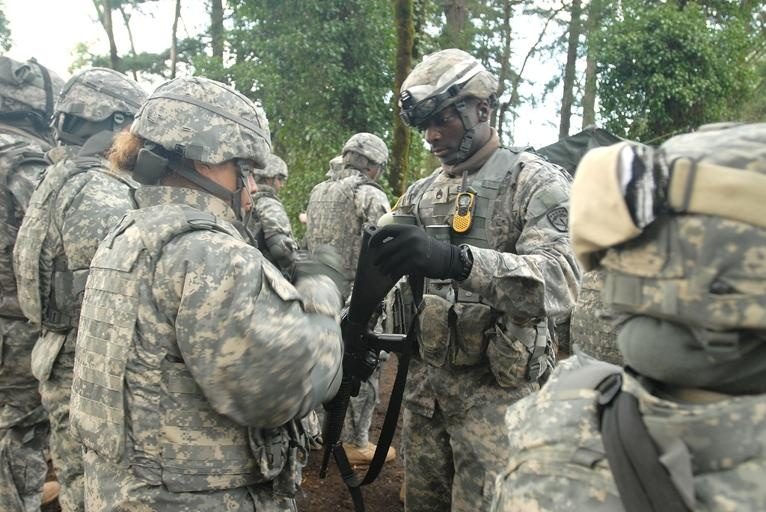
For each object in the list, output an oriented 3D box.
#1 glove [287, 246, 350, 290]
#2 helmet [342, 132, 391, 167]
[{"bbox_3d":[-0.343,0.092,4.688,0.340,0.238,0.407,-2,21,-15],"label":"glove"},{"bbox_3d":[-0.163,-1.086,8.352,0.314,0.335,0.419,16,8,27],"label":"helmet"}]
